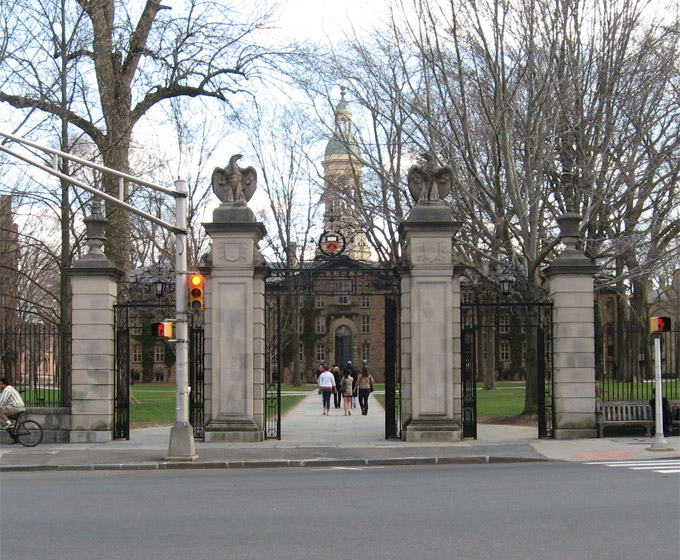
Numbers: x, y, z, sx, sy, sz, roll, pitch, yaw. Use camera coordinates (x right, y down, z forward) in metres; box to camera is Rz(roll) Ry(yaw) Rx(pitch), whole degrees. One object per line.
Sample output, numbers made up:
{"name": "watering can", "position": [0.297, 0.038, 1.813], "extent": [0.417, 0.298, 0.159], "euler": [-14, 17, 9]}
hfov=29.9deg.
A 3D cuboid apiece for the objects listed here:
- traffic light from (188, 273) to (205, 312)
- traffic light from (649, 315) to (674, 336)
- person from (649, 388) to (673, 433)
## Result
{"name": "traffic light", "position": [-3.563, 0.282, 31.215], "extent": [0.362, 0.976, 0.309], "euler": [-1, -9, 1]}
{"name": "traffic light", "position": [8.301, 1.169, 33.063], "extent": [0.406, 0.645, 0.597], "euler": [0, -1, 20]}
{"name": "person", "position": [8.843, 3.609, 35.115], "extent": [0.593, 1.397, 2.551], "euler": [-3, -10, 14]}
